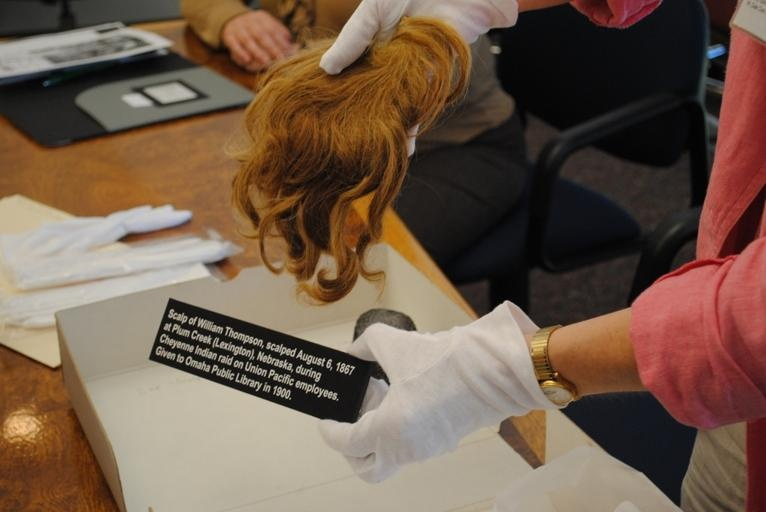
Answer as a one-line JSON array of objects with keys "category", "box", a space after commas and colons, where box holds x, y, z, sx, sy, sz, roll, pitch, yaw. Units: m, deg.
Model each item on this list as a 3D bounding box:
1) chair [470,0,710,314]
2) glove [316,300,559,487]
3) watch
[{"category": "chair", "box": [0.496, -0.253, 1.689, 0.447, 0.794, 0.489, -22, 41, -15]}, {"category": "glove", "box": [0.081, 0.191, 0.947, 0.327, 0.137, 0.214, -11, 66, 13]}, {"category": "watch", "box": [0.223, 0.143, 0.880, 0.050, 0.083, 0.080, -25, 102, -12]}]
